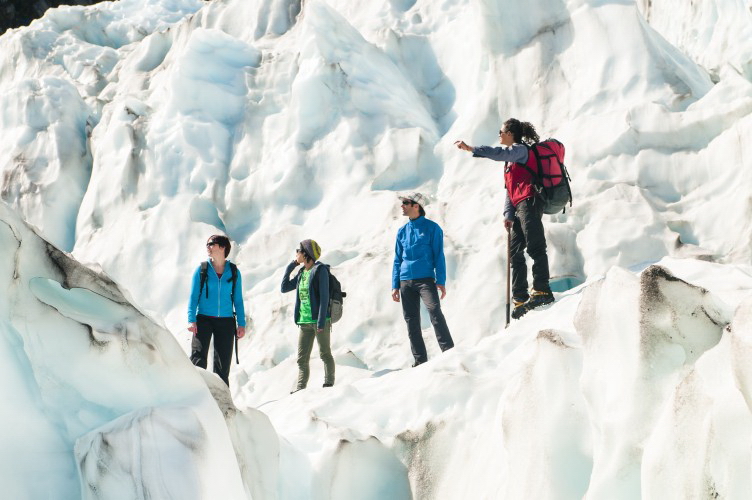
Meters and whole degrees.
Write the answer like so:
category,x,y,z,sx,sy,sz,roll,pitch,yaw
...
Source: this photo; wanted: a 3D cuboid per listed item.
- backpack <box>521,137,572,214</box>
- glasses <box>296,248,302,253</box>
category,x,y,z,sx,sy,sz,roll,pitch,yaw
backpack,2.871,-1.166,23.624,0.678,1.209,0.481,-17,20,-1
glasses,-1.262,0.030,23.945,0.129,0.044,0.126,3,-1,-11
